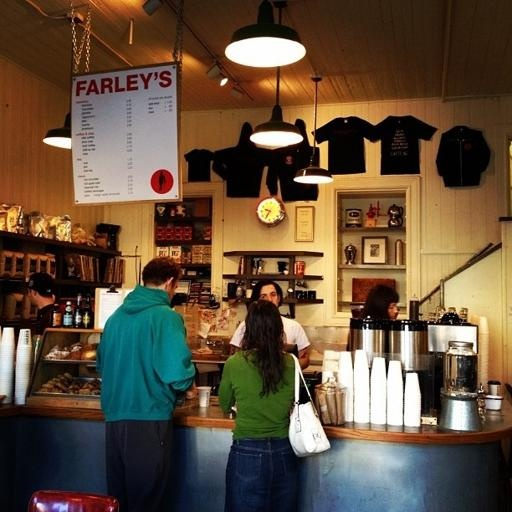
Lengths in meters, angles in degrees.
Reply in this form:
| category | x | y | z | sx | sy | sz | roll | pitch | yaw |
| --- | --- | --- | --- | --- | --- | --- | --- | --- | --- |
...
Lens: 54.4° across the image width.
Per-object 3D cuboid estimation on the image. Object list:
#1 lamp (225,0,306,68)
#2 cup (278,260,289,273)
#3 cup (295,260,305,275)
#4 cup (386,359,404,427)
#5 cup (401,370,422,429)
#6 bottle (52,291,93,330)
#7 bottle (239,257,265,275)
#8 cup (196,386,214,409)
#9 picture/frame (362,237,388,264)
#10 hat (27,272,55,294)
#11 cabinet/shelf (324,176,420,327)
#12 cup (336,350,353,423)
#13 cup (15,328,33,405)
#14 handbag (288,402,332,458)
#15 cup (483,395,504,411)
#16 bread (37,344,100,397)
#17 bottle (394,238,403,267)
| category | x | y | z | sx | sy | sz | roll | pitch | yaw |
| --- | --- | --- | --- | --- | --- | --- | --- | --- | --- |
| lamp | 0.049 | -1.138 | 2.686 | 0.350 | 0.445 | 0.394 | -1 | -7 | 3 |
| cup | 0.364 | 0.153 | 6.762 | 0.094 | 0.164 | 0.155 | -1 | -6 | 15 |
| cup | 0.583 | 0.157 | 6.623 | 0.134 | 0.179 | 0.145 | 1 | -4 | 0 |
| cup | 0.706 | 0.698 | 2.537 | 0.087 | 0.321 | 0.052 | 0 | -4 | 16 |
| cup | 0.780 | 0.724 | 2.505 | 0.080 | 0.269 | 0.043 | 0 | -4 | 16 |
| bottle | -1.464 | 0.429 | 3.952 | 0.288 | 0.322 | 0.306 | 0 | -2 | 26 |
| bottle | -0.065 | 0.130 | 6.798 | 0.297 | 0.258 | 0.310 | -1 | -7 | 2 |
| cup | -0.311 | 0.838 | 2.966 | 0.069 | 0.115 | 0.082 | 1 | -4 | -10 |
| picture/frame | 1.640 | -0.071 | 6.830 | 0.308 | 0.439 | 0.031 | 1 | -7 | 18 |
| hat | -1.782 | 0.233 | 4.130 | 0.185 | 0.186 | 0.181 | 3 | -4 | -27 |
| cabinet/shelf | 1.563 | -0.412 | 6.905 | 1.059 | 0.538 | 1.974 | 2 | -43 | 15 |
| cup | 0.469 | 0.682 | 2.624 | 0.086 | 0.356 | 0.189 | 0 | -4 | 10 |
| cup | -1.435 | 0.680 | 3.077 | 0.090 | 0.438 | 0.130 | 2 | -4 | -25 |
| handbag | 0.247 | 0.779 | 2.313 | 0.141 | 0.315 | 0.209 | -1 | -32 | -5 |
| cup | 1.443 | 0.881 | 3.029 | 0.087 | 0.069 | 0.094 | -2 | -7 | 0 |
| bread | -1.109 | 0.703 | 3.115 | 0.425 | 0.287 | 0.255 | 0 | -4 | 15 |
| bottle | 1.928 | -0.036 | 6.716 | 0.113 | 0.337 | 0.141 | 0 | -4 | 18 |
